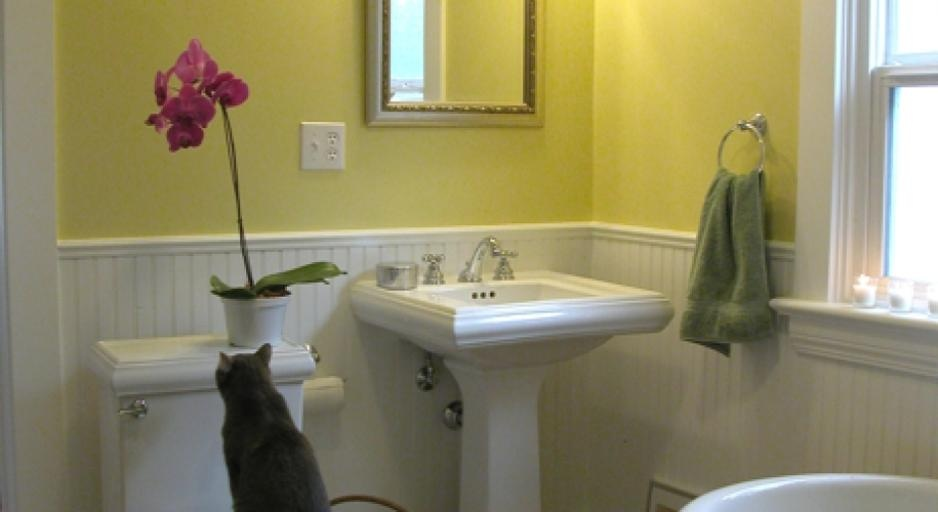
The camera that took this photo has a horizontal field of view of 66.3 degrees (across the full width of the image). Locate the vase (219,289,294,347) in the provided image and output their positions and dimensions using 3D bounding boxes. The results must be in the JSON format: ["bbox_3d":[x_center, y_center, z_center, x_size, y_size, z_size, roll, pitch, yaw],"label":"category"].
[{"bbox_3d":[-0.783,0.231,2.605,0.256,0.177,0.248,3,2,24],"label":"vase"}]

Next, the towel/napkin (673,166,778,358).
[{"bbox_3d":[0.947,0.002,2.610,0.299,0.613,0.241,3,12,30],"label":"towel/napkin"}]

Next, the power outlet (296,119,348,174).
[{"bbox_3d":[-0.594,-0.433,2.836,0.234,0.222,0.033,-2,11,-16],"label":"power outlet"}]
